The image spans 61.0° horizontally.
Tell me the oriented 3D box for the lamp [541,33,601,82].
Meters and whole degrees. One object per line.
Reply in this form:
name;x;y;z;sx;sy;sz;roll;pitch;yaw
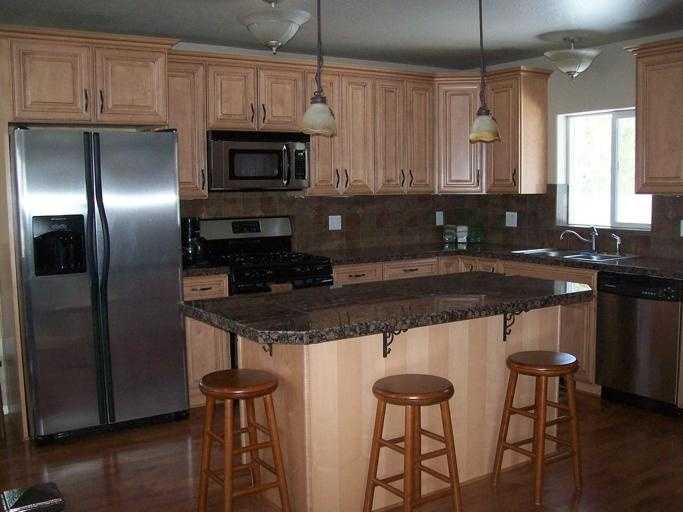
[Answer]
lamp;1.854;-1.642;4.740;0.496;0.341;0.481;1;-3;0

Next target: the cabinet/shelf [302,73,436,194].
cabinet/shelf;0.207;-1.106;5.200;1.250;1.012;0.433;-2;5;-25

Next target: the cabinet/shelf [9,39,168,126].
cabinet/shelf;-1.865;-1.274;4.237;1.094;0.582;0.364;-11;29;-40

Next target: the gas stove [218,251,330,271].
gas stove;-0.645;0.025;4.940;0.913;0.041;0.682;-4;9;-26

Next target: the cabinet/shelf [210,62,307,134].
cabinet/shelf;-0.785;-1.357;4.998;0.934;0.542;0.317;-9;18;-36

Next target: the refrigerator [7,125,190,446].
refrigerator;-1.638;0.192;4.073;1.025;2.117;0.355;-3;9;-15

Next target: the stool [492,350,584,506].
stool;1.267;0.936;3.498;0.447;0.778;0.816;8;12;43

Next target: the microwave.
microwave;-0.716;-0.774;4.888;0.857;0.492;0.535;-2;5;-26

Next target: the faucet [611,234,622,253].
faucet;2.426;-0.108;5.109;0.061;0.170;0.089;-3;9;-11

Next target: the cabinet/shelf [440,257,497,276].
cabinet/shelf;1.119;0.051;5.457;0.201;0.207;0.338;-9;13;-39

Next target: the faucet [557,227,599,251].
faucet;2.114;-0.154;5.317;0.288;0.223;0.390;-5;9;-26
